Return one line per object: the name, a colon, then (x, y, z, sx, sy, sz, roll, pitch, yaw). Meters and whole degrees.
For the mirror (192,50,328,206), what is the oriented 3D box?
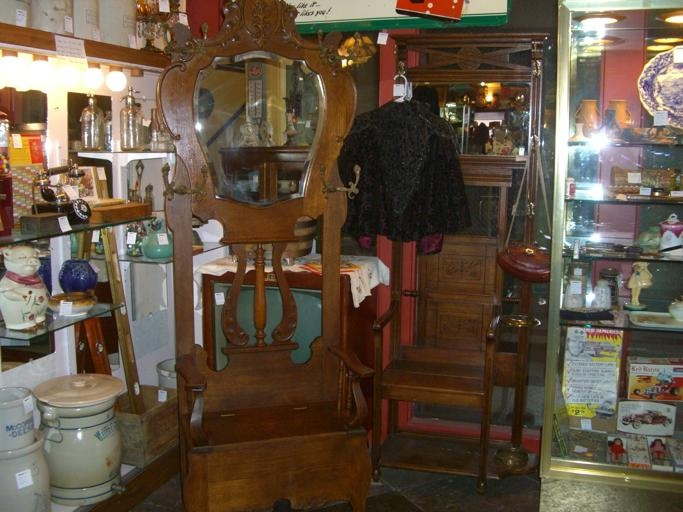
mirror: (-0.348, -0.572, 2.652, 0.747, 0.870, 0.025, -2, -12, -8)

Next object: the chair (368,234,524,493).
chair: (0.615, 0.584, 3.516, 0.855, 1.354, 0.650, 0, 8, 8)

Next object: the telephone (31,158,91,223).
telephone: (-1.394, -0.300, 2.960, 0.240, 0.313, 0.303, 11, 17, 25)

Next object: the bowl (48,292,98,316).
bowl: (-1.384, 0.241, 3.044, 0.137, 0.070, 0.141, 7, 8, -1)

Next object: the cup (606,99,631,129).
cup: (1.320, -0.670, 2.842, 0.133, 0.140, 0.102, -1, 6, -15)

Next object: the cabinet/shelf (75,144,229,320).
cabinet/shelf: (-1.042, -0.138, 3.162, 0.321, 0.900, 0.947, 4, 8, 31)

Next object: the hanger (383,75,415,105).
hanger: (0.348, -0.954, 3.382, 0.102, 0.191, 0.275, 0, 8, 10)

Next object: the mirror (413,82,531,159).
mirror: (0.744, -0.780, 3.438, 0.643, 0.444, 0.081, 2, 8, 22)

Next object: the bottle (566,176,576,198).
bottle: (1.111, -0.324, 2.879, 0.062, 0.102, 0.024, -5, 9, -25)
